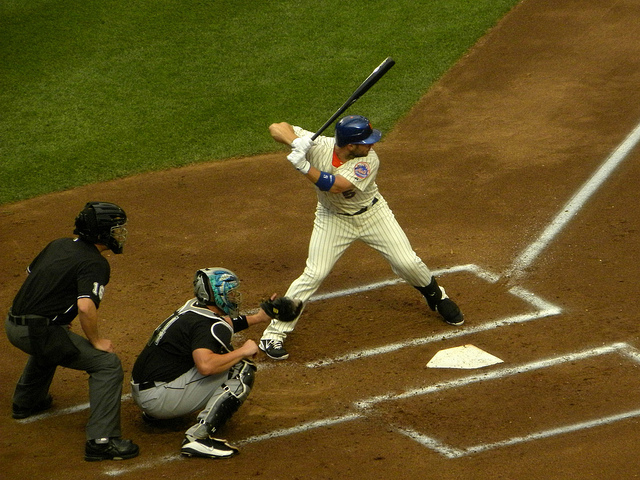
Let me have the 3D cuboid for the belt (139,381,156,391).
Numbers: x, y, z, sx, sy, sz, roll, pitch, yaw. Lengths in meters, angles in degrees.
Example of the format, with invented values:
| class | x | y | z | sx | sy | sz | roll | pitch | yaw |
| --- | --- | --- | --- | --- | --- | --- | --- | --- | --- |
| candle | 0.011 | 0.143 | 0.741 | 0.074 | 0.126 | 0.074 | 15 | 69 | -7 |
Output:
| class | x | y | z | sx | sy | sz | roll | pitch | yaw |
| --- | --- | --- | --- | --- | --- | --- | --- | --- | --- |
| belt | -1.645 | 1.368 | 8.434 | 0.128 | 0.031 | 0.099 | -7 | -4 | -3 |

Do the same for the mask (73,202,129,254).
| class | x | y | z | sx | sy | sz | roll | pitch | yaw |
| --- | --- | --- | --- | --- | --- | --- | --- | --- | --- |
| mask | -2.096 | -0.093 | 8.572 | 0.622 | 0.451 | 0.488 | 2 | 28 | -12 |

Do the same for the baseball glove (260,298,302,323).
| class | x | y | z | sx | sy | sz | roll | pitch | yaw |
| --- | --- | --- | --- | --- | --- | --- | --- | --- | --- |
| baseball glove | -0.371 | 0.682 | 8.947 | 0.426 | 0.150 | 0.288 | 0 | 21 | -37 |
